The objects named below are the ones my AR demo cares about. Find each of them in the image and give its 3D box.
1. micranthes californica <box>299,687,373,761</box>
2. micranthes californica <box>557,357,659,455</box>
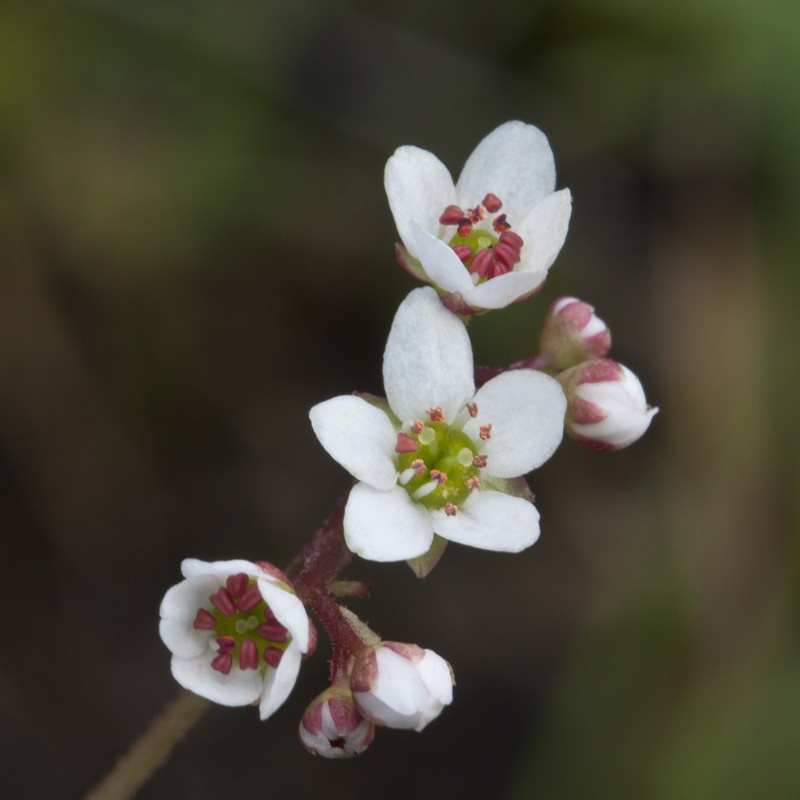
[{"bbox_3d":[-0.180,0.909,3.192,0.139,0.200,0.207,-3,-3,-6],"label":"micranthes californica"},{"bbox_3d":[0.608,0.027,3.307,0.292,0.215,0.176,10,41,9],"label":"micranthes californica"}]
